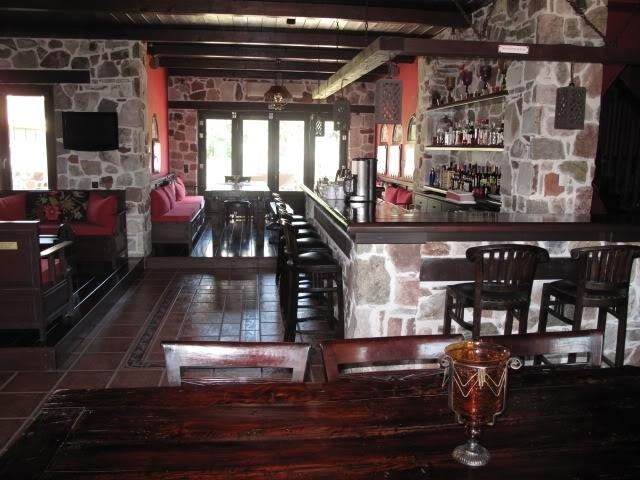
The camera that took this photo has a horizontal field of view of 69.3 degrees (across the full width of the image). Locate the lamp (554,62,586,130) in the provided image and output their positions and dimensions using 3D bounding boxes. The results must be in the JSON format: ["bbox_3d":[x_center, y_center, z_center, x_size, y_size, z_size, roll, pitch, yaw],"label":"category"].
[{"bbox_3d":[2.376,-1.374,4.443,0.275,0.609,0.217,3,12,10],"label":"lamp"}]

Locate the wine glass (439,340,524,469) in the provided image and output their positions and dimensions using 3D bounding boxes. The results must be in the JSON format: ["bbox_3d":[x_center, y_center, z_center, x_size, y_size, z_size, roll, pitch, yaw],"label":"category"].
[{"bbox_3d":[0.464,0.492,1.548,0.276,0.374,0.309,6,9,32],"label":"wine glass"}]
